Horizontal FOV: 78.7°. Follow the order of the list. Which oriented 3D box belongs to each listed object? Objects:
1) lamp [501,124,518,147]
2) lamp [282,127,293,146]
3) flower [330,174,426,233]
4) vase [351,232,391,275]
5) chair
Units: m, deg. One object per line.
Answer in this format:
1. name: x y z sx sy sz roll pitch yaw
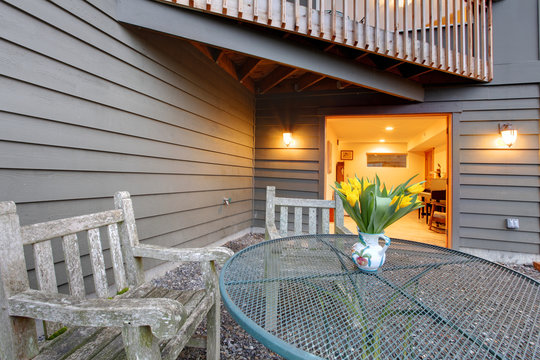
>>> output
1. lamp: 2.984 -0.542 4.128 0.173 0.280 0.103 0 3 26
2. lamp: 0.258 -0.654 5.018 0.159 0.300 0.096 -1 3 9
3. flower: 0.667 0.196 2.277 0.647 0.424 0.666 4 8 3
4. vase: 0.663 0.466 2.181 0.242 0.248 0.285 -1 5 -33
5. chair: 0.401 0.862 3.329 0.861 1.258 0.902 -4 -25 35
